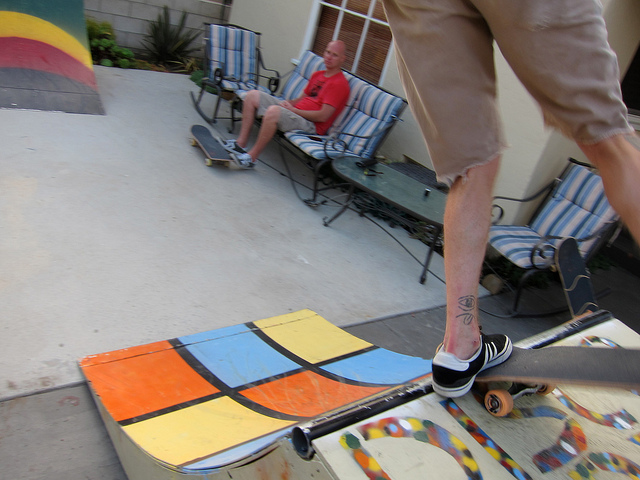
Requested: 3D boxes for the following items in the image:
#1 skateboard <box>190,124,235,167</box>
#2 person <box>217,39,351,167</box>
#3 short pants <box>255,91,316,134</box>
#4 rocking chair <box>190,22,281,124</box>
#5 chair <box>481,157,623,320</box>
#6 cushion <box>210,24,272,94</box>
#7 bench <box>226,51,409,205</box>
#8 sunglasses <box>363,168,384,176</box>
[{"bbox_3d":[-1.218,-1.049,5.091,0.348,0.113,0.745,-10,43,-41],"label":"skateboard"},{"bbox_3d":[-0.495,-1.599,5.482,1.586,1.193,0.822,-20,53,-18],"label":"person"},{"bbox_3d":[-0.262,-1.509,5.542,0.766,0.466,0.865,-17,28,-42],"label":"short pants"},{"bbox_3d":[-1.279,-2.318,6.510,0.859,1.151,1.444,9,30,-13],"label":"rocking chair"},{"bbox_3d":[2.121,-0.114,4.455,1.390,0.873,0.745,-23,46,-9],"label":"chair"},{"bbox_3d":[-1.061,-2.434,6.442,0.889,0.751,0.685,-5,40,-31],"label":"cushion"},{"bbox_3d":[-0.511,-1.703,5.990,1.563,0.938,2.308,-9,32,-8],"label":"bench"},{"bbox_3d":[0.494,-0.655,4.595,0.186,0.031,0.082,7,-1,-2],"label":"sunglasses"}]
